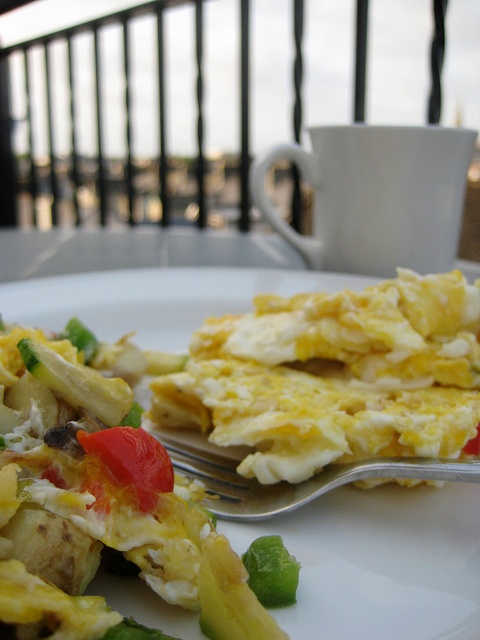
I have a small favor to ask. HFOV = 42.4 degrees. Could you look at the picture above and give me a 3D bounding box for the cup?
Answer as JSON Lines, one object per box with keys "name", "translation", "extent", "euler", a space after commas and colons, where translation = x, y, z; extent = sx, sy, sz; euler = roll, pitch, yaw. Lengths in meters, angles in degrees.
{"name": "cup", "translation": [0.171, -0.178, 0.931], "extent": [0.298, 0.200, 0.197], "euler": [2, 13, 6]}
